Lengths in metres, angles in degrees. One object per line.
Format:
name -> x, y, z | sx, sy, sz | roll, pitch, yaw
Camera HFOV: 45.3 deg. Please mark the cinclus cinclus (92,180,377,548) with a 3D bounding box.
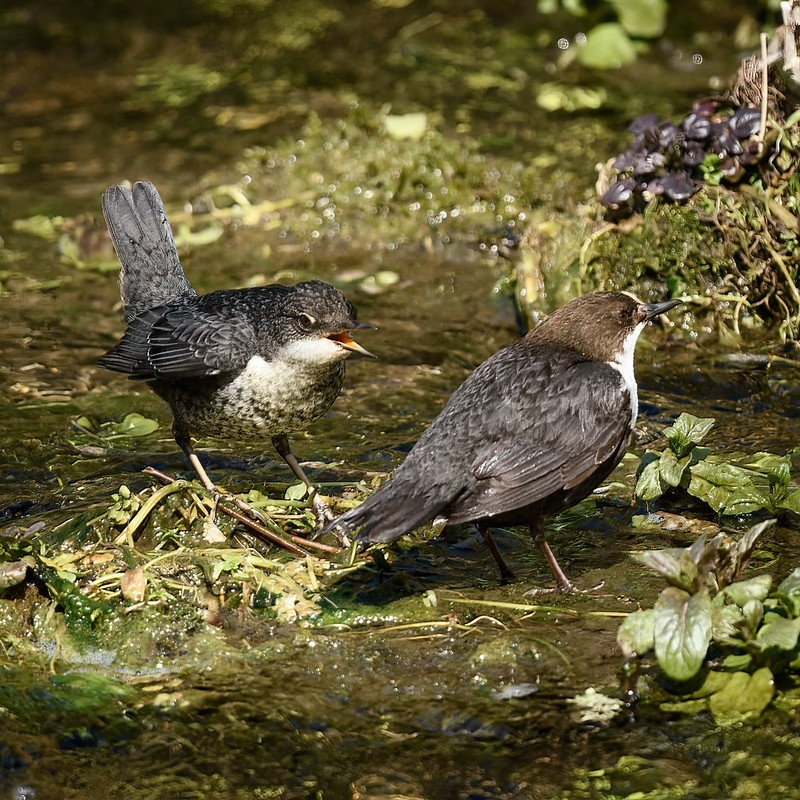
cinclus cinclus -> -0.753, -0.100, 4.326 | 1.054, 1.142, 1.627 | -17, 31, -16
